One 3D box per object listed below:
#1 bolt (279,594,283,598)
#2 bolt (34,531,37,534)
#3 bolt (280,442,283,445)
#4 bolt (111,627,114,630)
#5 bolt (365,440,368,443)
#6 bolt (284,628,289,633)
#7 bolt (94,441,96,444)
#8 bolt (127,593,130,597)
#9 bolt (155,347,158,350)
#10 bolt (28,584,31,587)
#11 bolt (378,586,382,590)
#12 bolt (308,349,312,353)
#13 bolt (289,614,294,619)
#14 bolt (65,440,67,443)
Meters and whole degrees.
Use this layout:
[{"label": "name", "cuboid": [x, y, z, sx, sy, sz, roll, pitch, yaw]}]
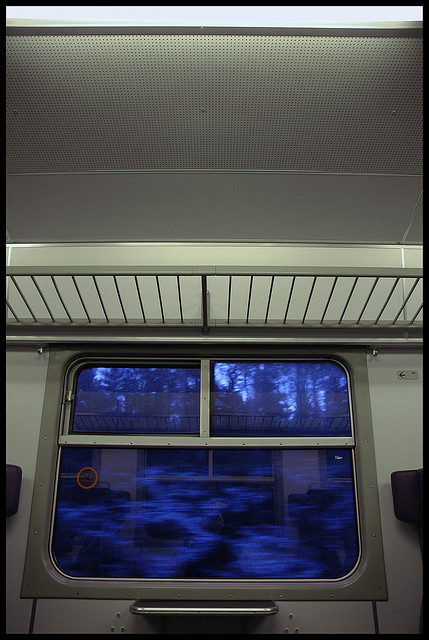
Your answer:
[{"label": "bolt", "cuboid": [0.319, 1.325, 2.097, 0.015, 0.015, 0.003, 1, -1, -11]}, {"label": "bolt", "cuboid": [-0.903, 1.073, 2.205, 0.013, 0.011, 0.005, 1, -1, -10]}, {"label": "bolt", "cuboid": [0.351, 0.650, 2.300, 0.013, 0.009, 0.004, 0, -1, 11]}, {"label": "bolt", "cuboid": [-0.483, 1.461, 2.068, 0.012, 0.007, 0.004, 1, -1, -10]}, {"label": "bolt", "cuboid": [0.819, 0.653, 2.357, 0.012, 0.013, 0.023, -1, -2, -3]}, {"label": "bolt", "cuboid": [0.341, 1.468, 2.065, 0.013, 0.011, 0.016, 3, -24, 3]}, {"label": "bolt", "cuboid": [-0.635, 0.649, 2.320, 0.010, 0.011, 0.003, -4, -6, 6]}, {"label": "bolt", "cuboid": [-0.415, 1.323, 2.104, 0.013, 0.015, 0.014, 2, -6, -8]}, {"label": "bolt", "cuboid": [-0.332, 0.161, 2.488, 0.012, 0.012, 0.003, 0, -1, 3]}, {"label": "bolt", "cuboid": [-0.903, 1.293, 2.127, 0.004, 0.009, 0.019, 11, -2, -26]}, {"label": "bolt", "cuboid": [0.808, 1.308, 2.133, 0.013, 0.013, 0.005, 1, -1, -4]}, {"label": "bolt", "cuboid": [0.545, 0.175, 2.491, 0.020, 0.014, 0.021, 3, 28, 14]}, {"label": "bolt", "cuboid": [0.366, 1.414, 2.083, 0.019, 0.017, 0.005, 1, -1, -3]}, {"label": "bolt", "cuboid": [-0.796, 0.652, 2.340, 0.008, 0.009, 0.005, 2, -24, -4]}]
